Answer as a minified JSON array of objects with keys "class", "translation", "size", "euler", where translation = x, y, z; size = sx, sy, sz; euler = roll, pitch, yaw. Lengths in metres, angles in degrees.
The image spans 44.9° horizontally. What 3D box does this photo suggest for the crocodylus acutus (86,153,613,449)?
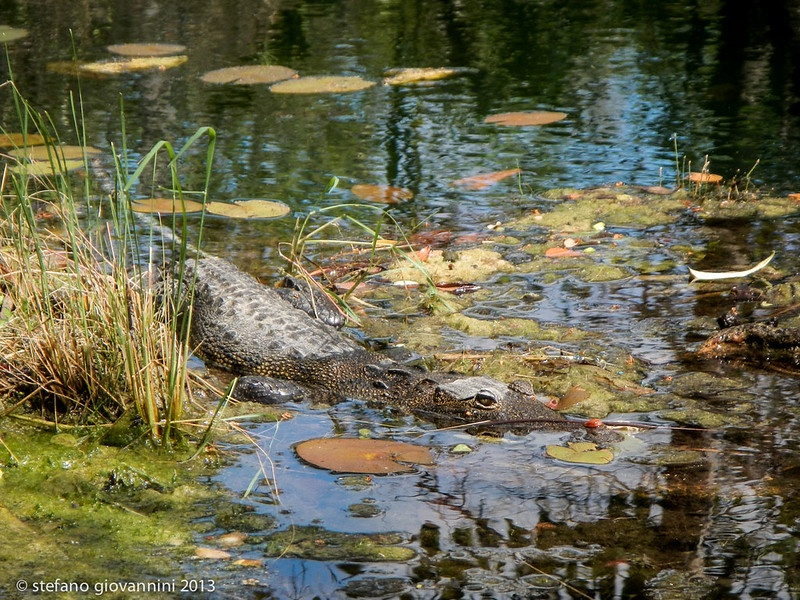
[{"class":"crocodylus acutus","translation":[-0.593,0.298,7.566],"size":[4.806,0.468,1.181],"euler":[9,21,22]}]
